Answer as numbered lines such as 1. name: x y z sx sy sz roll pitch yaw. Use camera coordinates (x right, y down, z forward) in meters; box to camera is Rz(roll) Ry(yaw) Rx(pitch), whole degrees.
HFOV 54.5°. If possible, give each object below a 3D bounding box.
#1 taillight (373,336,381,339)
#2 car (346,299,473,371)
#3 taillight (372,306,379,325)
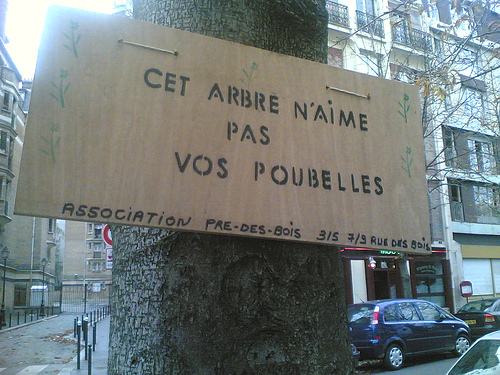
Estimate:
1. taillight: 2.959 3.505 11.409 0.128 0.070 0.028 4 -1 -12
2. car: 3.999 3.654 12.358 3.434 1.662 0.676 5 -17 -29
3. taillight: 3.045 3.084 11.792 0.158 0.433 0.398 -9 -16 21
